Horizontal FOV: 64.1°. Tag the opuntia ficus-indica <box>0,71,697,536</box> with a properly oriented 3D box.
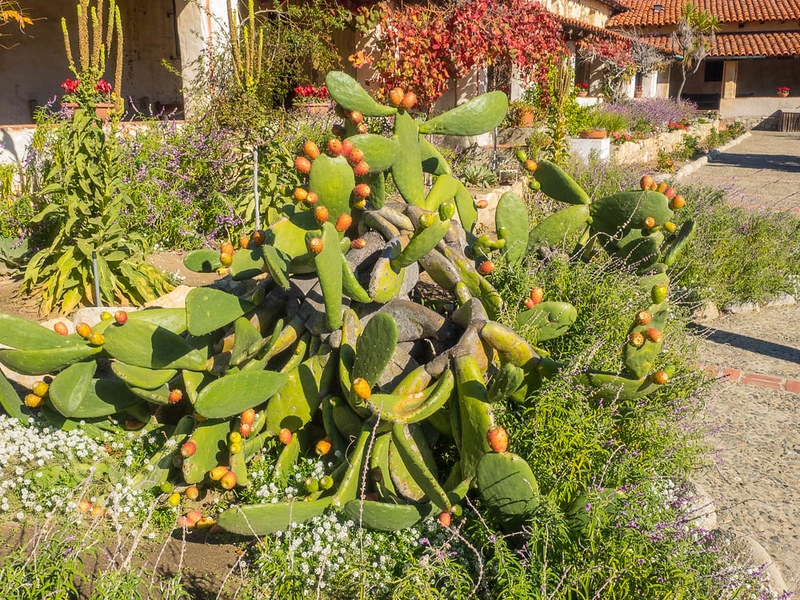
[{"bbox_3d":[-0.347,0.453,3.767,3.217,1.734,2.665,1,62,-20],"label":"opuntia ficus-indica"}]
